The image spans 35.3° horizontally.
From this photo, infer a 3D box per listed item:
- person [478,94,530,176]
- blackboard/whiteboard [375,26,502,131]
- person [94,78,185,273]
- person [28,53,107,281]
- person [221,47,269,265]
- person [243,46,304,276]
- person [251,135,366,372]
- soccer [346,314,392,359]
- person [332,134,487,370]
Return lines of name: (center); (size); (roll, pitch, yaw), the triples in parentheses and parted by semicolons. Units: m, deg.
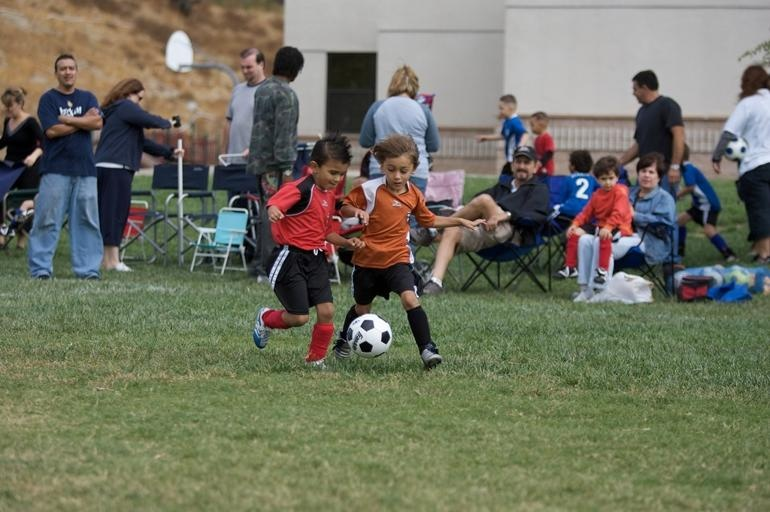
person: (1.842, -1.552, 18.401); (0.490, 1.809, 0.822); (-10, 17, -32)
blackboard/whiteboard: (1.424, -4.702, 30.398); (3.775, 2.891, 2.130); (1, 10, 5)
person: (-3.237, -1.133, 16.272); (0.965, 2.870, 0.979); (2, 3, 28)
person: (-4.022, -1.137, 15.376); (0.913, 2.852, 0.503); (2, 2, -15)
person: (-1.913, -1.451, 17.093); (0.648, 2.891, 0.924); (-4, 9, -44)
person: (-1.401, -1.225, 15.689); (0.848, 2.808, 0.881); (1, 2, 3)
person: (-0.808, -0.059, 12.678); (0.938, 2.429, 0.569); (2, 2, -12)
soccer: (-0.122, 0.867, 12.861); (0.447, 0.575, 0.578); (1, 48, -7)
person: (0.283, -0.113, 12.891); (0.941, 2.589, 1.302); (1, 2, 31)
